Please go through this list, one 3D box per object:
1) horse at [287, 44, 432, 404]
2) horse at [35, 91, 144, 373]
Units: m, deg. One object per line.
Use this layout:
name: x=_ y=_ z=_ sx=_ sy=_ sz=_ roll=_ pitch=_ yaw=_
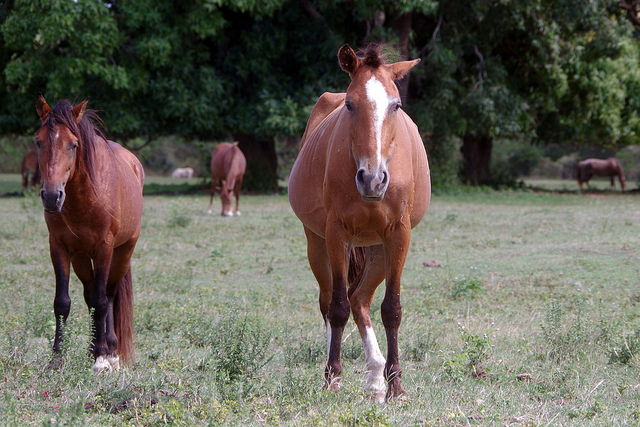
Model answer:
horse: x=0.653 y=0.002 z=15.919 sx=2.339 sy=5.313 sz=2.085 roll=8 pitch=13 yaw=27
horse: x=-3.794 y=0.266 z=16.539 sx=1.783 sy=4.377 sz=1.555 roll=-6 pitch=14 yaw=-29
